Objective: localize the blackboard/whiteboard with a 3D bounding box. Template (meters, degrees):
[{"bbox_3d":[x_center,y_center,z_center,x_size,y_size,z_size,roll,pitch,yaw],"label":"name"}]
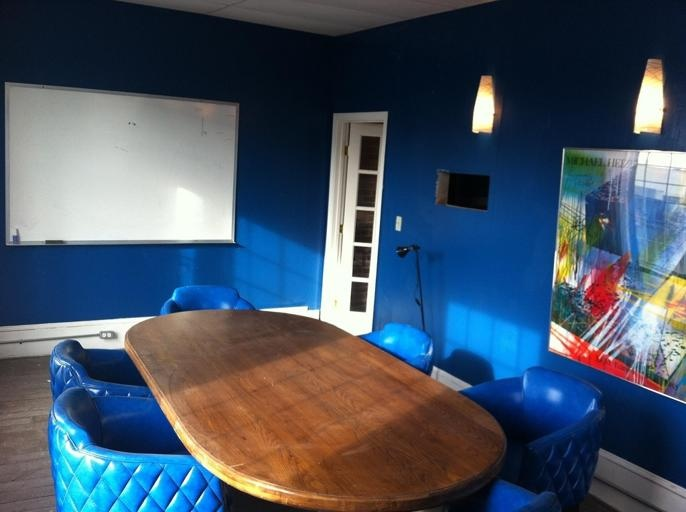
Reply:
[{"bbox_3d":[-2.214,-0.933,4.819,1.648,1.141,0.060,0,11,-20],"label":"blackboard/whiteboard"}]

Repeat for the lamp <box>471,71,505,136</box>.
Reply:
[{"bbox_3d":[1.162,-1.222,3.975,0.207,0.460,0.115,7,13,28],"label":"lamp"}]

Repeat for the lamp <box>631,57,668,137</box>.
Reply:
[{"bbox_3d":[1.908,-0.991,3.062,0.158,0.457,0.074,10,15,41],"label":"lamp"}]
